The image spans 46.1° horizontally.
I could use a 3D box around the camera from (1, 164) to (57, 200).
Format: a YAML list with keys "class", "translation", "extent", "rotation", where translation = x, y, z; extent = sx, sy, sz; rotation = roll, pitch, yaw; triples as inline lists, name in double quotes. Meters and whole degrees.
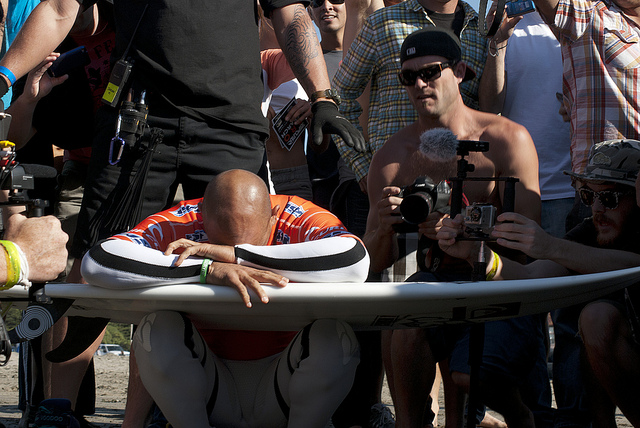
- class: "camera"
  translation: [-1.560, -0.181, 4.048]
  extent: [0.194, 0.178, 0.353]
  rotation: [2, 5, -4]

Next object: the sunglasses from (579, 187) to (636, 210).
- class: "sunglasses"
  translation: [1.618, -0.090, 4.244]
  extent: [0.289, 0.117, 0.072]
  rotation: [5, 5, 24]

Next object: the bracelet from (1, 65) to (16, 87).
- class: "bracelet"
  translation: [-1.745, -0.785, 4.229]
  extent: [0.035, 0.092, 0.092]
  rotation: [-32, 51, -5]

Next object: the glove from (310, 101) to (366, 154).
- class: "glove"
  translation: [0.096, -0.450, 4.409]
  extent: [0.252, 0.149, 0.360]
  rotation: [-42, -31, 28]

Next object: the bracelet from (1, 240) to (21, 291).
- class: "bracelet"
  translation: [-1.542, 0.256, 3.795]
  extent: [0.044, 0.205, 0.167]
  rotation: [0, -3, -41]

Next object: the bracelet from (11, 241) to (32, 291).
- class: "bracelet"
  translation: [-1.499, 0.273, 3.823]
  extent: [0.043, 0.182, 0.124]
  rotation: [-16, 11, -14]

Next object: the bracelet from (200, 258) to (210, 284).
- class: "bracelet"
  translation: [-0.572, 0.280, 3.811]
  extent: [0.021, 0.091, 0.084]
  rotation: [5, -12, 1]

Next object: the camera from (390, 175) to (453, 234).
- class: "camera"
  translation: [0.524, -0.075, 4.116]
  extent: [0.340, 0.241, 0.273]
  rotation: [3, 18, 24]
